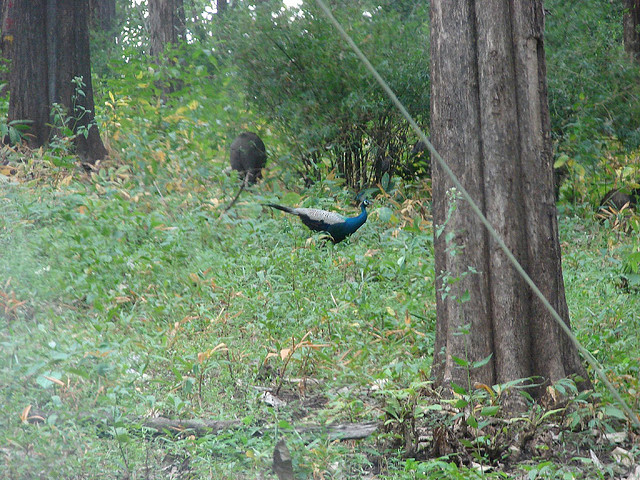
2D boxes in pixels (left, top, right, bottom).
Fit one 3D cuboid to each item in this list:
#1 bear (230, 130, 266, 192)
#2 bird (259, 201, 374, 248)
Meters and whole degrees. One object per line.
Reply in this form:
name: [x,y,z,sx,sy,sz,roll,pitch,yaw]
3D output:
bear: [-0.945,-1.081,11.760,0.418,0.840,0.475,0,11,-21]
bird: [-0.023,-0.238,10.375,1.210,0.783,0.388,9,34,5]
